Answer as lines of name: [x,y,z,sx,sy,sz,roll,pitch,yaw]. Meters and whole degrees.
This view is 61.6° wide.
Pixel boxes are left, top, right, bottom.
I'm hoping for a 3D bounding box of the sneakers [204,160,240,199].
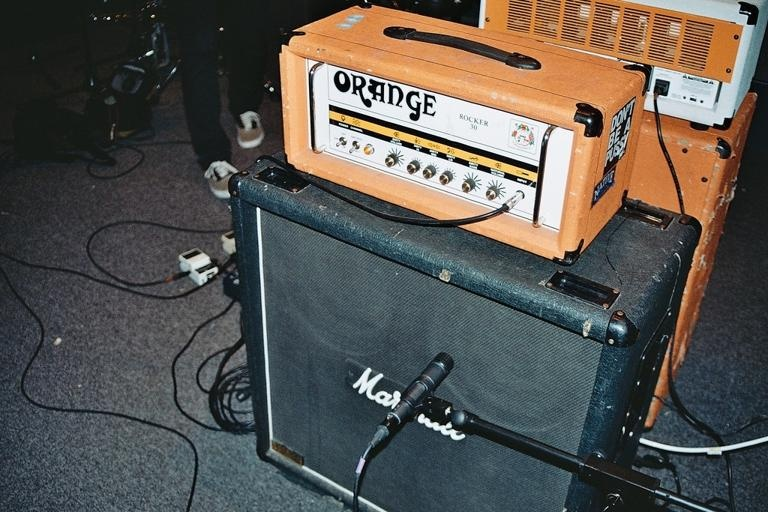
sneakers: [-0.879,-0.428,3.499,0.166,0.156,0.264,-18,51,-15]
